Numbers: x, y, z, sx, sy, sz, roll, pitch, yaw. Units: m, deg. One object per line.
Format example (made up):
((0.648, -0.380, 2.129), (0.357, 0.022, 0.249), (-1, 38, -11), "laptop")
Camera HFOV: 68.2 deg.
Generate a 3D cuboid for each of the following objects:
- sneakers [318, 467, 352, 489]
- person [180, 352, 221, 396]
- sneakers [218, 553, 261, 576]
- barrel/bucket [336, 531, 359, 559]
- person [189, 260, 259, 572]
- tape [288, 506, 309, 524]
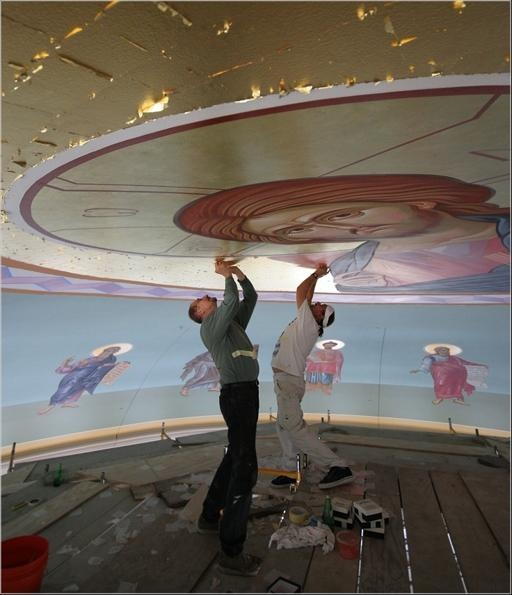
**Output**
((0.881, 1.884, 4.129), (0.471, 0.134, 0.148), (4, -13, -32), "sneakers")
((-1.551, 1.990, 10.282), (0.533, 1.033, 1.157), (3, -7, 39), "person")
((-0.114, 1.814, 2.711), (0.286, 0.117, 0.137), (-3, 3, 0), "sneakers")
((0.715, 1.820, 2.926), (0.157, 0.131, 0.233), (-3, -7, 15), "barrel/bucket")
((-0.270, 0.787, 3.203), (0.614, 2.302, 0.832), (-1, -8, -4), "person")
((0.373, 1.843, 3.330), (0.192, 0.079, 0.118), (0, -11, 3), "tape")
